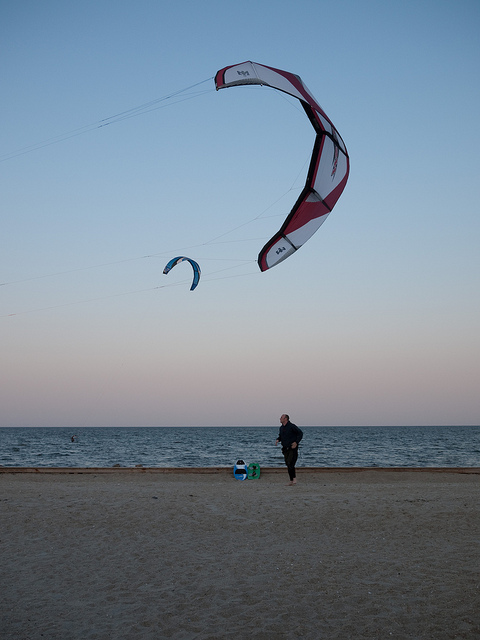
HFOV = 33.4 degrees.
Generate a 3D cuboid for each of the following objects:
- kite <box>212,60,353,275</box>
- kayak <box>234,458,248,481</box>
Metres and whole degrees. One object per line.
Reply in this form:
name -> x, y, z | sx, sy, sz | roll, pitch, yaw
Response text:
kite -> 0.452, -1.771, 9.507 | 0.557, 1.593, 2.338 | -42, -25, -24
kayak -> 0.023, 2.671, 14.330 | 0.211, 0.320, 0.088 | 1, -8, 8
